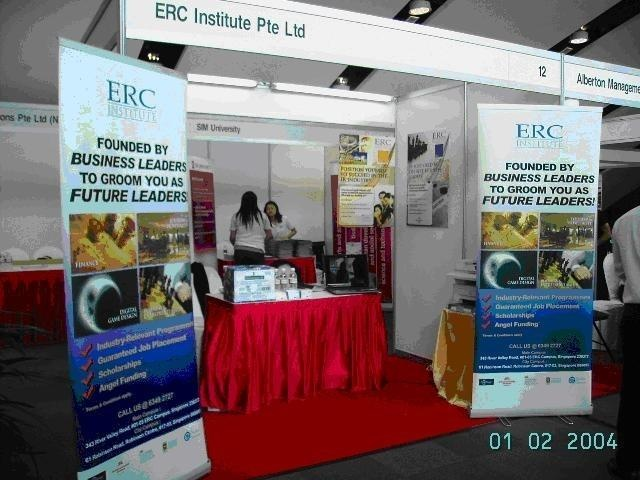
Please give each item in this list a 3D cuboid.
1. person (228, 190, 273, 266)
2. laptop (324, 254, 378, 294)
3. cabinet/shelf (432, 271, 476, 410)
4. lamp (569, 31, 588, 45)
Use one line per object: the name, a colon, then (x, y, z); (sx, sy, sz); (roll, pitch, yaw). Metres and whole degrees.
person: (-1.013, -0.187, 7.022); (0.556, 1.039, 0.441); (-1, 7, -11)
laptop: (0.280, 0.334, 4.754); (0.439, 0.326, 0.352); (0, -5, -3)
cabinet/shelf: (1.213, 1.005, 4.320); (0.235, 0.840, 0.563); (-3, 7, -26)
lamp: (3.260, -2.535, 6.113); (0.183, 0.074, 0.178); (6, -10, -43)
